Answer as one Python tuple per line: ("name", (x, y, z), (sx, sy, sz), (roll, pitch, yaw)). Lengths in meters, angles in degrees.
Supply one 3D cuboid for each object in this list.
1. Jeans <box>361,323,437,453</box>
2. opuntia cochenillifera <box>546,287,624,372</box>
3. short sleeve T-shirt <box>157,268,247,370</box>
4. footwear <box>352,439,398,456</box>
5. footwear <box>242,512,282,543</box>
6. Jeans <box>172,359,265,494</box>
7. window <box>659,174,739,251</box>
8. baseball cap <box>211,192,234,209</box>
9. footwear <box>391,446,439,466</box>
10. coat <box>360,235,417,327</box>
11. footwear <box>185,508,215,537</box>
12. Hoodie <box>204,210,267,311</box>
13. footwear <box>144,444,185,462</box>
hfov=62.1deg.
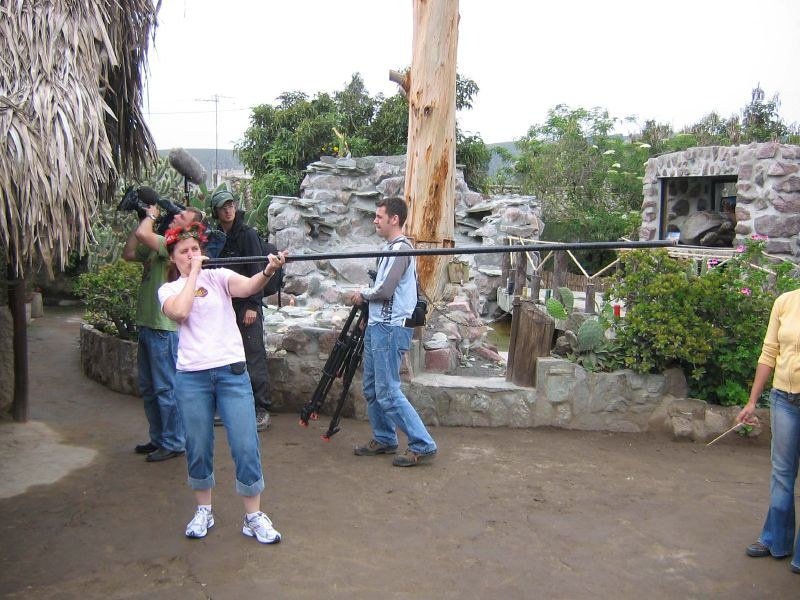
("Jeans", (-0.014, 0.813, 6.029), (0.421, 1.213, 0.670), (-5, 11, -33))
("opuntia cochenillifera", (2.113, 0.293, 7.760), (0.796, 0.752, 1.424), (2, 9, 6))
("short sleeve T-shirt", (-1.423, 0.144, 4.710), (0.777, 0.903, 0.475), (0, -8, -18))
("footwear", (-0.230, 1.425, 6.348), (0.443, 0.207, 0.154), (5, -2, -4))
("footwear", (-0.969, 1.602, 4.623), (0.341, 0.175, 0.137), (6, 5, 34))
("Jeans", (-1.229, 0.899, 4.576), (0.591, 0.943, 0.233), (2, 9, 6))
("window", (7.636, -2.312, 16.954), (1.686, 1.688, 2.414), (6, 10, 26))
("baseball cap", (-1.740, -0.976, 6.494), (0.193, 0.178, 0.272), (-2, 10, -17))
("footwear", (0.140, 1.408, 6.017), (0.374, 0.176, 0.167), (2, 4, -7))
("coat", (-0.104, -0.185, 6.080), (0.503, 0.835, 0.670), (5, 9, -5))
("footwear", (-1.410, 1.586, 4.680), (0.106, 0.139, 0.280), (0, -8, 3))
("Hoodie", (-1.448, -0.498, 6.431), (0.653, 0.641, 0.429), (24, 27, 16))
("footwear", (-2.128, 1.399, 6.021), (0.331, 0.152, 0.124), (6, -4, -28))
